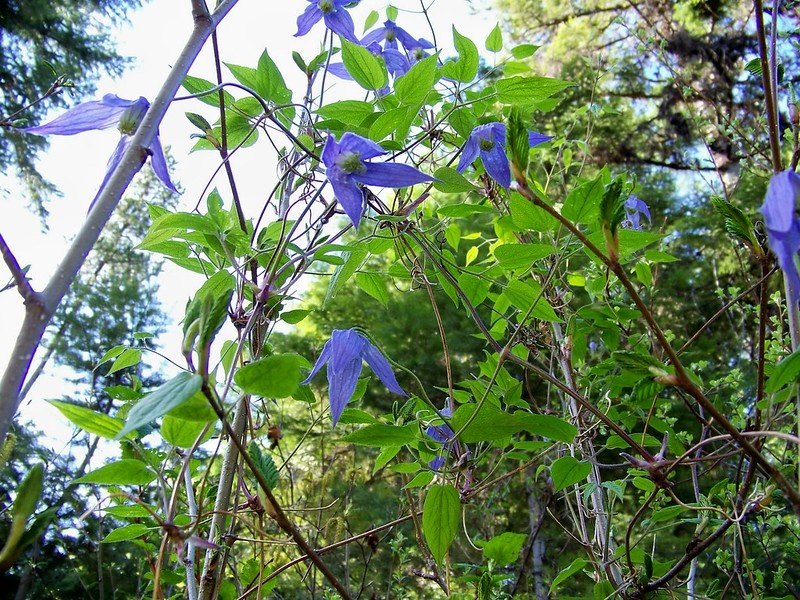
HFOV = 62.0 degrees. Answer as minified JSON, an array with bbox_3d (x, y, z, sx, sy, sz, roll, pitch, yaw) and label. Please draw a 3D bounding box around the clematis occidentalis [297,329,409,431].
[{"bbox_3d":[-0.147,0.161,1.805,0.211,0.279,0.165,8,-63,42],"label":"clematis occidentalis"}]
